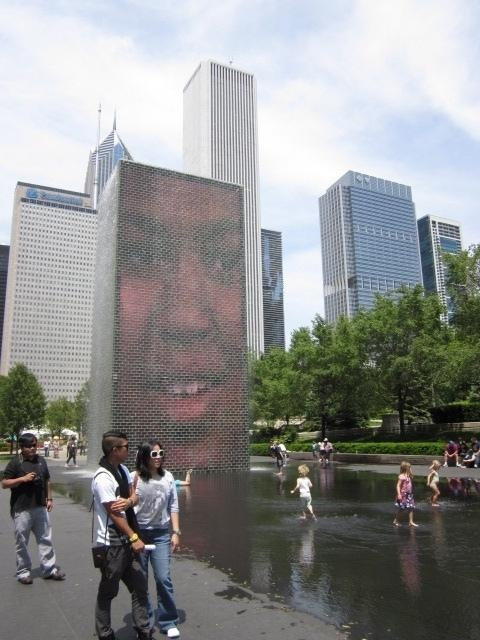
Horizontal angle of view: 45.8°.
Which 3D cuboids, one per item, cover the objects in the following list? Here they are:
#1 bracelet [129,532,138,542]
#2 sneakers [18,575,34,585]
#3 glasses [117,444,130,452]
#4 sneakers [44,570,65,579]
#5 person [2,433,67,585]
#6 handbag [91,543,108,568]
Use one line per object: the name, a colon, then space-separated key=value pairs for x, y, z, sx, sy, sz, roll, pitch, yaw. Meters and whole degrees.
bracelet: x=-0.871 y=1.787 z=4.652 sx=0.054 sy=0.041 sz=0.069 roll=6 pitch=-21 yaw=-27
sneakers: x=-2.587 y=3.141 z=6.870 sx=0.081 sy=0.091 sz=0.217 roll=18 pitch=-29 yaw=-41
glasses: x=-1.025 y=1.126 z=4.963 sx=0.108 sy=0.032 sz=0.104 roll=-9 pitch=-12 yaw=19
sneakers: x=-2.297 y=3.160 z=7.021 sx=0.229 sy=0.095 sz=0.107 roll=3 pitch=-12 yaw=-3
person: x=-2.619 y=2.330 z=7.102 sx=0.812 sy=1.801 sz=0.604 roll=6 pitch=-9 yaw=-37
handbag: x=-1.170 y=1.966 z=4.674 sx=0.135 sy=0.208 sz=0.172 roll=5 pitch=-9 yaw=-36
